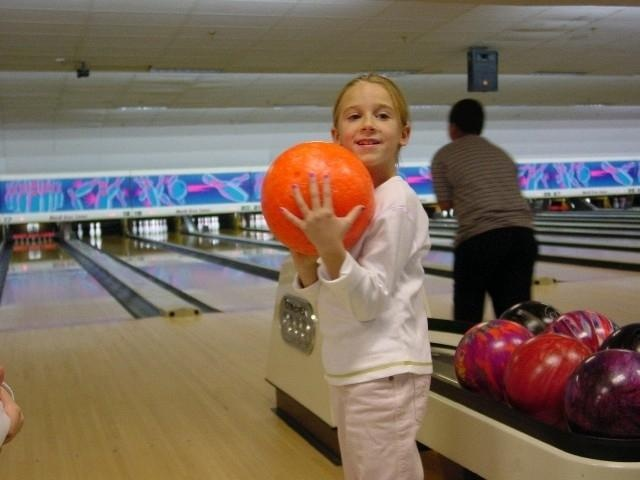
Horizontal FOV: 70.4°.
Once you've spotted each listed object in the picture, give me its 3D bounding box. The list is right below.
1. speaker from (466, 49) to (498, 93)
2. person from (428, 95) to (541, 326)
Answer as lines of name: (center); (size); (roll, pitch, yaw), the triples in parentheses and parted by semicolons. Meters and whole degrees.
speaker: (1.295, -1.348, 3.595); (0.284, 0.351, 0.184); (-4, 8, -5)
person: (0.709, -0.059, 1.946); (0.392, 0.771, 0.253); (-3, 8, 5)
